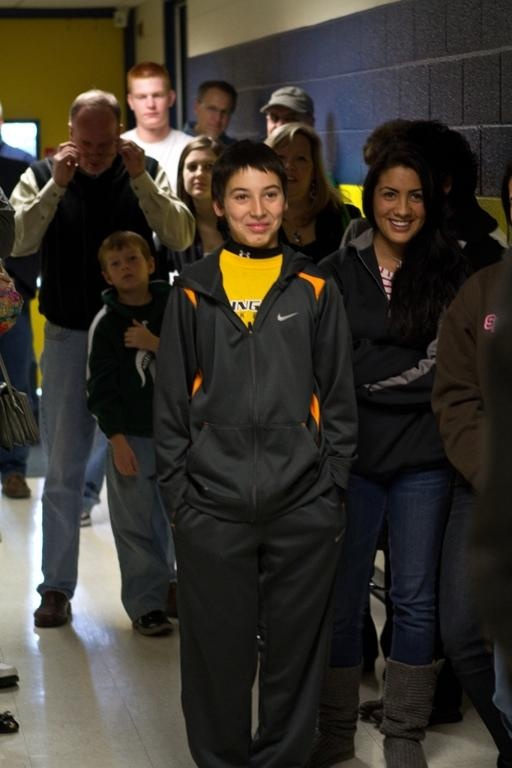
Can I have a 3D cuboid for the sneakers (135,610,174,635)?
[{"bbox_3d":[-0.417,0.981,2.651,0.078,0.080,0.182,7,-15,-35],"label":"sneakers"}]
